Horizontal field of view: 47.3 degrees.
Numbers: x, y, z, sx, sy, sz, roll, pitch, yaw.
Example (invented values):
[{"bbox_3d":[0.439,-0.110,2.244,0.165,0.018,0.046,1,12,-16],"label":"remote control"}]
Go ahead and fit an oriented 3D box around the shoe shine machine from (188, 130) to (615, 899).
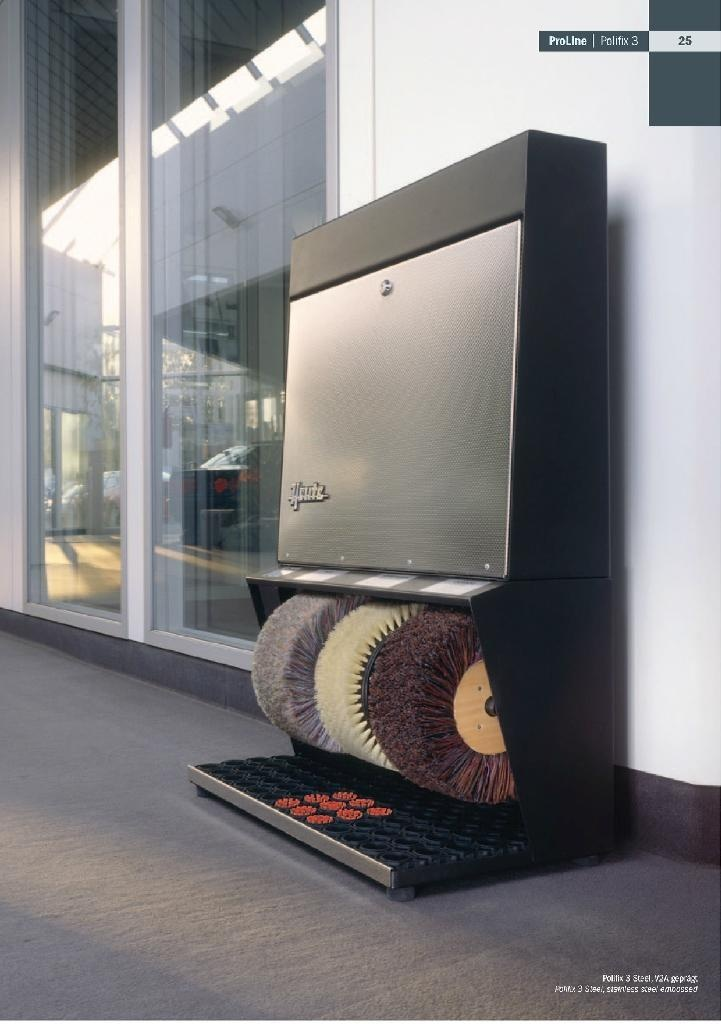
[{"bbox_3d":[0.097,-0.058,1.872,0.546,1.536,0.888,3,-6,-32],"label":"shoe shine machine"}]
